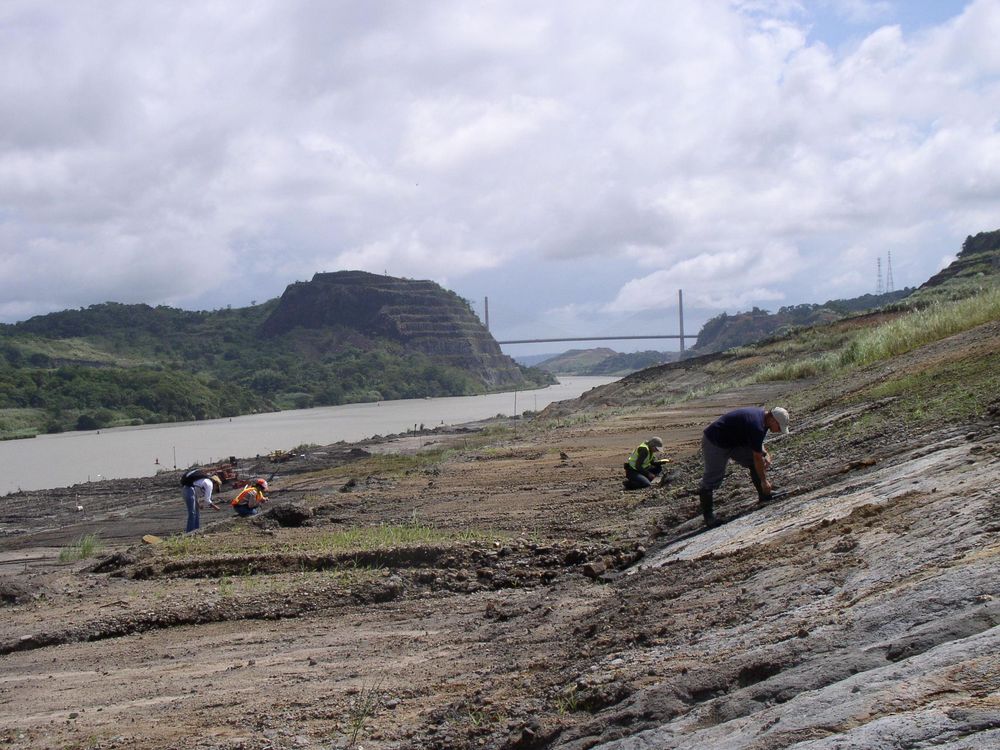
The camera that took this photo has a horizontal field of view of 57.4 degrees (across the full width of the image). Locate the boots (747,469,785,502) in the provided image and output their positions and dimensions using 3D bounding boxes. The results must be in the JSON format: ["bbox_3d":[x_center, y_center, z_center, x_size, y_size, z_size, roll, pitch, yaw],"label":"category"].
[{"bbox_3d":[4.282,1.775,14.803,0.424,0.543,0.809,-3,0,13],"label":"boots"}]

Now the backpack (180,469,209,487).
[{"bbox_3d":[-7.701,2.614,23.094,0.554,0.448,0.858,-3,0,-15],"label":"backpack"}]

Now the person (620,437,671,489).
[{"bbox_3d":[3.396,2.117,21.743,1.025,1.219,1.440,-3,0,8],"label":"person"}]

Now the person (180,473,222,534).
[{"bbox_3d":[-8.054,3.485,24.633,1.072,0.735,1.934,10,-43,-35],"label":"person"}]

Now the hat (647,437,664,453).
[{"bbox_3d":[3.612,1.660,21.461,0.326,0.222,0.435,16,12,-40],"label":"hat"}]

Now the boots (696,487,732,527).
[{"bbox_3d":[3.516,2.185,15.162,0.425,0.642,1.065,-3,0,10],"label":"boots"}]
